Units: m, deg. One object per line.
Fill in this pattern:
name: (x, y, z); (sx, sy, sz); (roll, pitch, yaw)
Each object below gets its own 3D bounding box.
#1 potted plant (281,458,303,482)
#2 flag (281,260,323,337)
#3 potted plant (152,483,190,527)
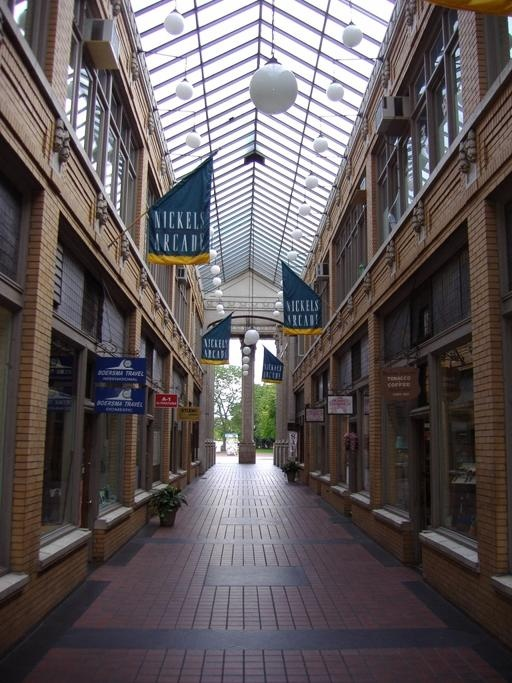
potted plant: (1.790, 6.448, 23.341); (0.890, 0.975, 1.546); (-1, -13, 7)
flag: (1.192, -1.144, 12.526); (0.988, 1.850, 0.836); (0, -12, 3)
potted plant: (-2.025, 3.885, 11.176); (0.680, 0.843, 1.172); (-4, -13, 20)
